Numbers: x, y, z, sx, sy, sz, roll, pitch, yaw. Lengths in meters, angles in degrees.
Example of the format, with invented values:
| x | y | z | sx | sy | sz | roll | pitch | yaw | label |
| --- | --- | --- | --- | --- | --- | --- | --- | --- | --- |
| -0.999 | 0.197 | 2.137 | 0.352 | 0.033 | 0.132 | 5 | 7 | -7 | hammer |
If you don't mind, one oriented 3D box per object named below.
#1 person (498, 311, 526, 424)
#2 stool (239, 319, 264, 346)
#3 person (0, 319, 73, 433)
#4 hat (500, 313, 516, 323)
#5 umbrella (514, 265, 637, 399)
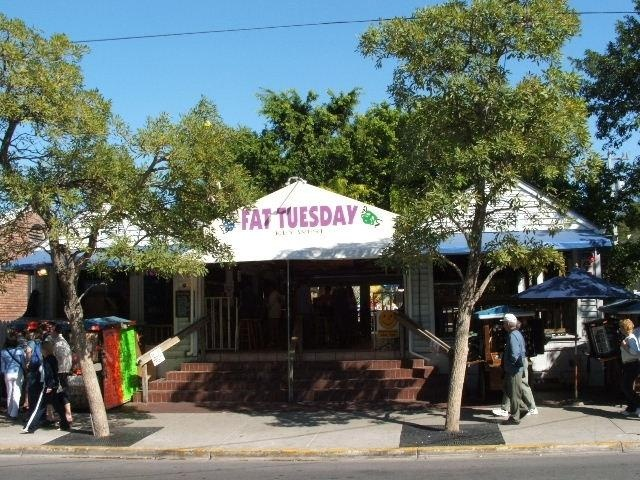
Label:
| x | y | z | sx | sy | sz | roll | pitch | yaw | label |
| --- | --- | --- | --- | --- | --- | --- | --- | --- | --- |
| 4.223 | 2.789 | 16.322 | 0.487 | 2.259 | 0.685 | 0 | 5 | 10 | person |
| -2.122 | 2.887 | 22.874 | 0.846 | 1.086 | 0.732 | -3 | -2 | 5 | stool |
| -6.157 | 3.214 | 16.700 | 1.003 | 2.037 | 1.381 | -3 | 5 | -24 | person |
| 4.130 | 1.717 | 16.514 | 0.222 | 0.118 | 0.171 | 4 | 5 | 40 | hat |
| 6.372 | 2.377 | 18.897 | 2.957 | 3.673 | 3.183 | -3 | -3 | 6 | umbrella |
